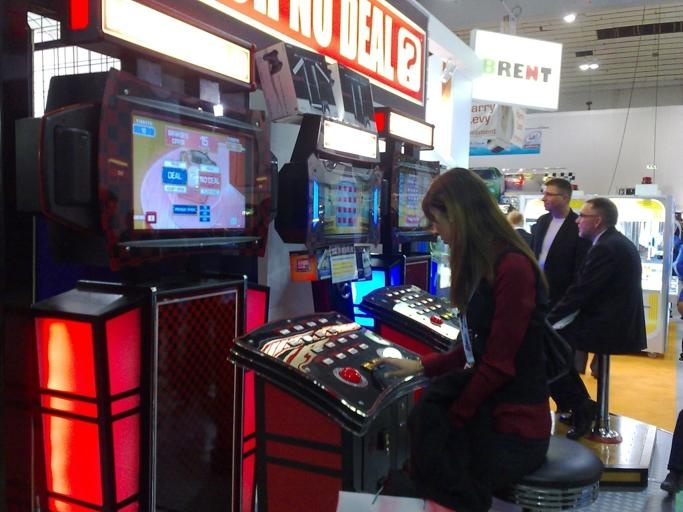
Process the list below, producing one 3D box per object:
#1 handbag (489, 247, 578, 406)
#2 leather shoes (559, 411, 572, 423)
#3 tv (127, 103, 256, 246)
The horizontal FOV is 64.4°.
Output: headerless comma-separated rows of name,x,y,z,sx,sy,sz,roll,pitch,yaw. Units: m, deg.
handbag,0.701,0.265,2.054,0.446,0.571,0.176,-3,4,-23
leather shoes,1.798,1.271,4.330,0.077,0.078,0.176,4,7,32
tv,-0.604,-0.317,2.118,0.009,0.404,0.560,4,6,33
